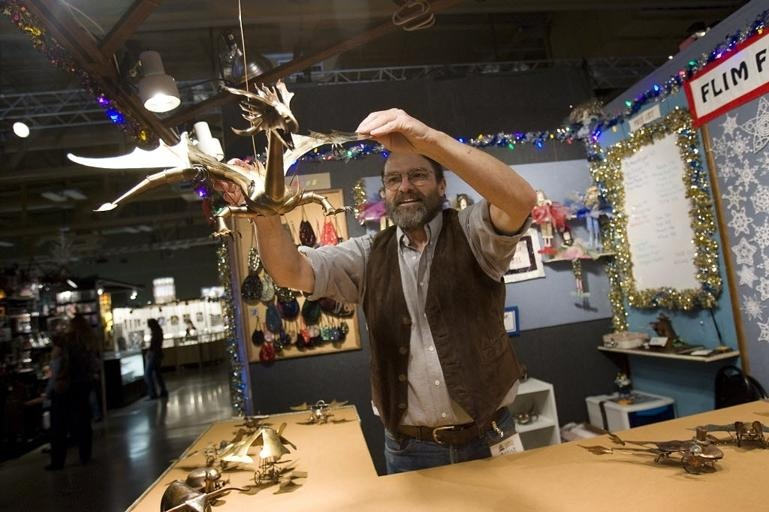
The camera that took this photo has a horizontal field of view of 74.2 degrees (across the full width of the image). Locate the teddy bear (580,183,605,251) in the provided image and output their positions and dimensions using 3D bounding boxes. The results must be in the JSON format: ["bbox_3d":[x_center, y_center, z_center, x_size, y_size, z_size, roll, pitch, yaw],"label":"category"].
[{"bbox_3d":[2.410,-0.415,5.868,0.202,0.725,0.277,-9,-8,24],"label":"teddy bear"}]

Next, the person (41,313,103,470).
[{"bbox_3d":[-3.429,1.406,5.637,0.437,1.453,0.718,-1,-9,-34],"label":"person"}]

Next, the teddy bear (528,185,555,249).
[{"bbox_3d":[1.807,-0.420,5.809,0.276,0.664,0.305,-7,6,-30],"label":"teddy bear"}]

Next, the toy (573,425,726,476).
[{"bbox_3d":[1.600,1.114,2.953,0.508,0.152,0.305,-5,3,27],"label":"toy"}]
